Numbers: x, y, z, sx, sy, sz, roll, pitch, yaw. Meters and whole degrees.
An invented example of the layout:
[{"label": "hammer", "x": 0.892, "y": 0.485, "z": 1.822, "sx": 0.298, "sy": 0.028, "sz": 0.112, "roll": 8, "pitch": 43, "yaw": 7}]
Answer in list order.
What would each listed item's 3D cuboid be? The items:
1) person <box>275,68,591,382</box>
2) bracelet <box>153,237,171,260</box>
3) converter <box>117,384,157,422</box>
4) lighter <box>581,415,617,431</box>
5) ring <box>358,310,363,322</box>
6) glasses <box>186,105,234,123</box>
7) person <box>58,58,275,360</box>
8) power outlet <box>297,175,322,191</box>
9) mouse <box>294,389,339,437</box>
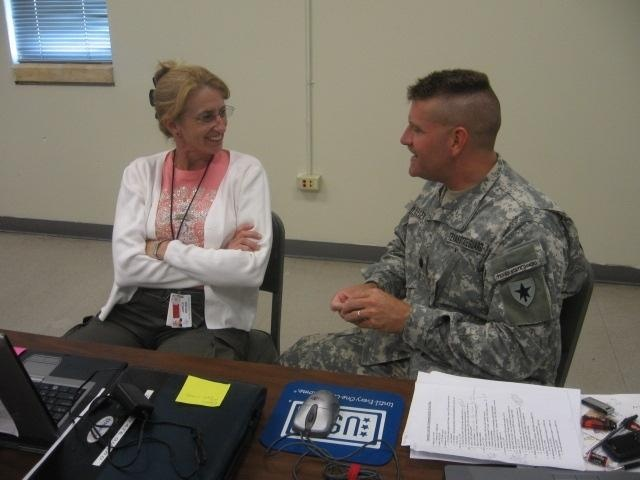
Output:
[{"label": "person", "x": 0.425, "y": -0.140, "z": 2.311, "sx": 1.112, "sy": 1.567, "sz": 1.088, "roll": 2, "pitch": 14, "yaw": 6}, {"label": "bracelet", "x": -0.644, "y": 0.032, "z": 2.074, "sx": 0.025, "sy": 0.075, "sz": 0.054, "roll": 10, "pitch": 0, "yaw": -11}, {"label": "converter", "x": -0.497, "y": 0.420, "z": 1.359, "sx": 0.060, "sy": 0.030, "sz": 0.106, "roll": -6, "pitch": 29, "yaw": -32}, {"label": "lighter", "x": 0.736, "y": 0.486, "z": 1.348, "sx": 0.045, "sy": 0.012, "sz": 0.047, "roll": 4, "pitch": 14, "yaw": 19}, {"label": "ring", "x": 0.136, "y": 0.258, "z": 1.741, "sx": 0.006, "sy": 0.026, "sz": 0.026, "roll": -9, "pitch": 34, "yaw": -9}, {"label": "glasses", "x": -0.438, "y": -0.521, "z": 2.092, "sx": 0.044, "sy": 0.059, "sz": 0.155, "roll": 17, "pitch": 24, "yaw": 41}, {"label": "person", "x": -0.582, "y": -0.120, "z": 2.048, "sx": 0.780, "sy": 1.141, "sz": 0.620, "roll": -1, "pitch": 17, "yaw": -6}, {"label": "power outlet", "x": -0.084, "y": -0.429, "z": 3.724, "sx": 0.186, "sy": 0.133, "sz": 0.106, "roll": 3, "pitch": 11, "yaw": 14}, {"label": "mouse", "x": -0.002, "y": 0.467, "z": 1.414, "sx": 0.104, "sy": 0.066, "sz": 0.181, "roll": 3, "pitch": 15, "yaw": 20}]
